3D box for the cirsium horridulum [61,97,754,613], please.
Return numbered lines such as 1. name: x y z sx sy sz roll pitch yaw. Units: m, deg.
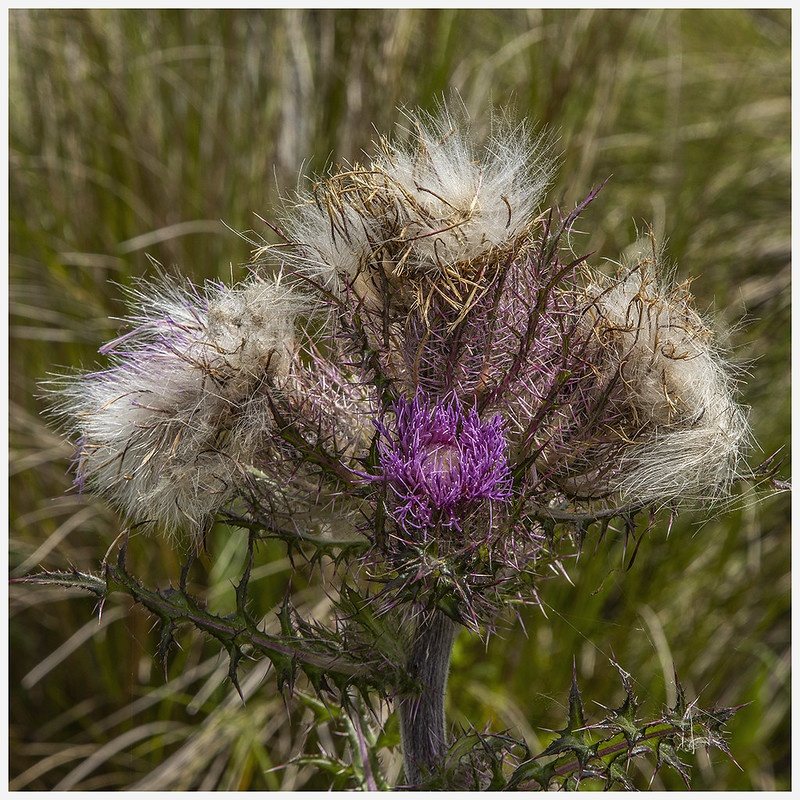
1. cirsium horridulum: 0.024 0.006 1.870 1.318 0.891 0.857 10 42 10
